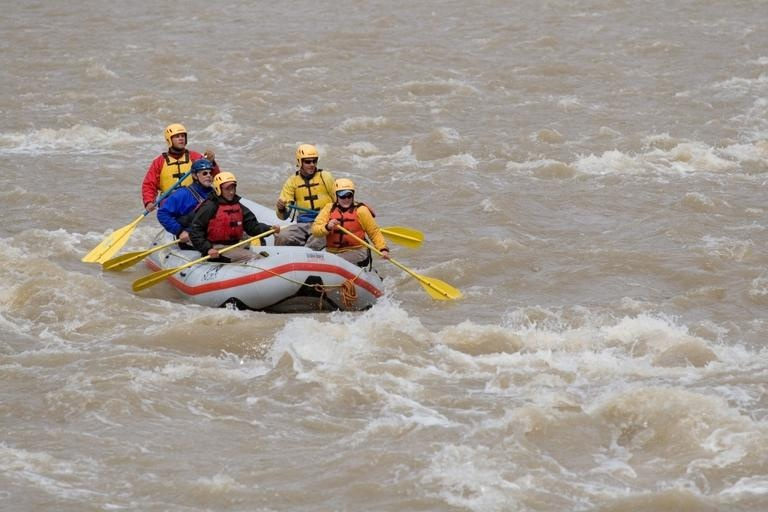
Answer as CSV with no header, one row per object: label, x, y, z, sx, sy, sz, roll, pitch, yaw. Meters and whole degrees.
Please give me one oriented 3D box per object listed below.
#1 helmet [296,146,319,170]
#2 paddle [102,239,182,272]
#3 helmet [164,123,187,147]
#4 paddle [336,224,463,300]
helmet,-1.484,-1.949,29.129,0.567,0.405,0.585,-1,14,-13
paddle,-4.594,0.015,28.966,1.940,0.164,0.167,-15,16,1
helmet,-4.015,-2.337,29.308,0.313,0.479,0.401,-13,34,-16
paddle,0.272,0.171,28.908,3.437,0.238,0.390,21,39,-11
